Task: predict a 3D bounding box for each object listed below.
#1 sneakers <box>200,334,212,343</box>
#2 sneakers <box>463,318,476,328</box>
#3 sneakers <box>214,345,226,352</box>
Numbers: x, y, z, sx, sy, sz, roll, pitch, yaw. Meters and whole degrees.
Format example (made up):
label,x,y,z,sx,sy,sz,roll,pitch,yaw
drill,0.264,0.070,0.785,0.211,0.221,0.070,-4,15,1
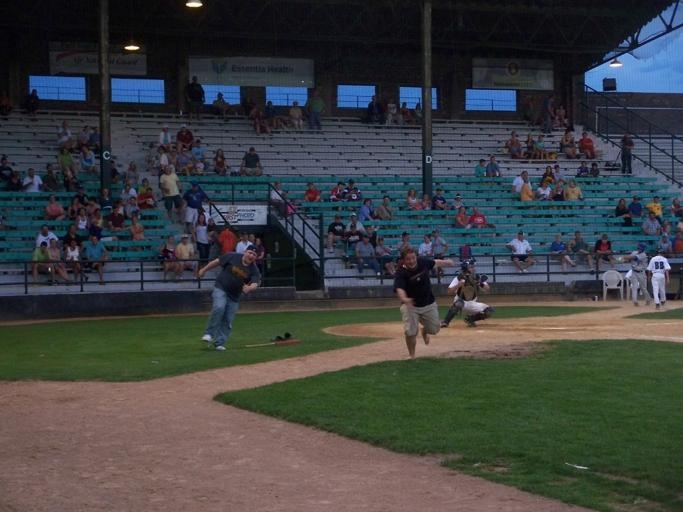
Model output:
label,x,y,z,sx,sy,sz,roll,pitch,yaw
sneakers,-3.824,2.336,38.991,0.180,0.165,0.401,3,-1,-1
sneakers,3.999,2.044,42.239,0.417,0.178,0.158,8,35,-1
sneakers,-3.414,2.612,38.829,0.316,0.127,0.132,3,16,19
